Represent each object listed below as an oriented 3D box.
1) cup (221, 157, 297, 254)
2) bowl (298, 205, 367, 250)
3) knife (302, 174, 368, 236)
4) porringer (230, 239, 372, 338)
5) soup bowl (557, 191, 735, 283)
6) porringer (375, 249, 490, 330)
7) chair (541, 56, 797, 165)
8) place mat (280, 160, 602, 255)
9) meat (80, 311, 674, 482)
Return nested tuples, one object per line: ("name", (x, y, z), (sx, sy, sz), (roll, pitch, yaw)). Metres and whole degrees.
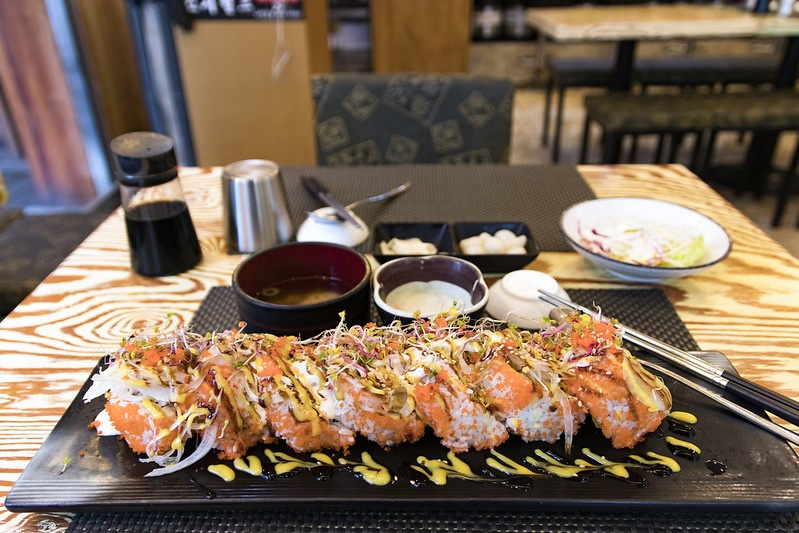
("cup", (-0.361, -0.147, 1.326), (0.208, 0.176, 0.182), (11, 32, 7))
("bowl", (-0.159, -0.090, 1.259), (0.163, 0.054, 0.156), (3, 20, -1))
("knife", (-0.185, -0.175, 1.396), (0.061, 0.072, 0.373), (-46, 40, -6))
("porringer", (-0.196, 0.057, 1.049), (0.233, 0.116, 0.216), (13, 31, -2))
("soup bowl", (0.546, -0.063, 1.238), (0.265, 0.070, 0.239), (-1, 32, 4))
("porringer", (0.073, 0.054, 1.076), (0.170, 0.067, 0.151), (27, 46, 31))
("chair", (1.662, -0.950, 3.360), (1.393, 0.613, 0.404), (0, 45, 2))
("place mat", (0.124, -0.169, 1.511), (0.634, 0.073, 0.339), (-1, 33, -1))
("meat", (-0.015, 0.194, 0.966), (1.076, 0.221, 0.309), (1, 13, -2))
